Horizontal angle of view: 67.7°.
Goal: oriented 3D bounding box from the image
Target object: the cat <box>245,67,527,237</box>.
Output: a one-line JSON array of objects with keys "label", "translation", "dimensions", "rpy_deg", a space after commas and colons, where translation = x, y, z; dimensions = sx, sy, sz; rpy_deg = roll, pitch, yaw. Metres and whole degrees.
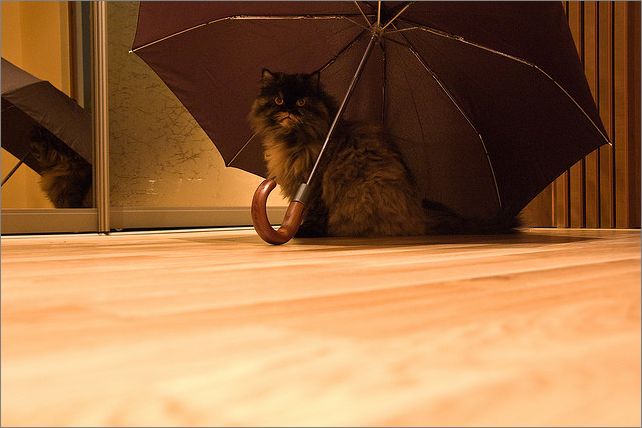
[{"label": "cat", "translation": [0.057, -0.165, 1.685], "dimensions": [0.618, 0.652, 0.176], "rpy_deg": [4, 6, 25]}]

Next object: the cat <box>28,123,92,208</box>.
[{"label": "cat", "translation": [-1.183, -0.207, 2.125], "dimensions": [0.115, 0.392, 0.160], "rpy_deg": [-9, 38, 40]}]
